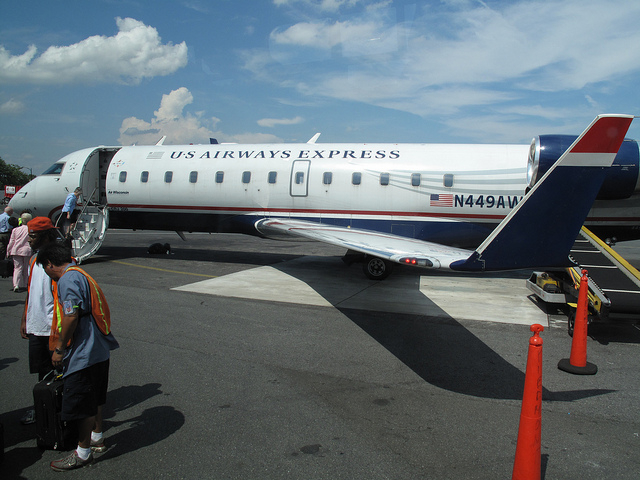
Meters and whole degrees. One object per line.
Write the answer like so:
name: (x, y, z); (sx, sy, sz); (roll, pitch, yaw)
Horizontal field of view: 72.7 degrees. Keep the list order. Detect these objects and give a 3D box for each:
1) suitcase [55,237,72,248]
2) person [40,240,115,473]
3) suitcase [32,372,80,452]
suitcase: (-6.268, 0.049, 10.528); (0.373, 0.101, 0.421); (-3, 16, -24)
person: (-2.906, 1.313, 5.154); (0.771, 2.506, 0.996); (-5, 14, -25)
suitcase: (-3.178, 2.066, 5.136); (0.481, 0.929, 0.338); (11, 16, 39)
